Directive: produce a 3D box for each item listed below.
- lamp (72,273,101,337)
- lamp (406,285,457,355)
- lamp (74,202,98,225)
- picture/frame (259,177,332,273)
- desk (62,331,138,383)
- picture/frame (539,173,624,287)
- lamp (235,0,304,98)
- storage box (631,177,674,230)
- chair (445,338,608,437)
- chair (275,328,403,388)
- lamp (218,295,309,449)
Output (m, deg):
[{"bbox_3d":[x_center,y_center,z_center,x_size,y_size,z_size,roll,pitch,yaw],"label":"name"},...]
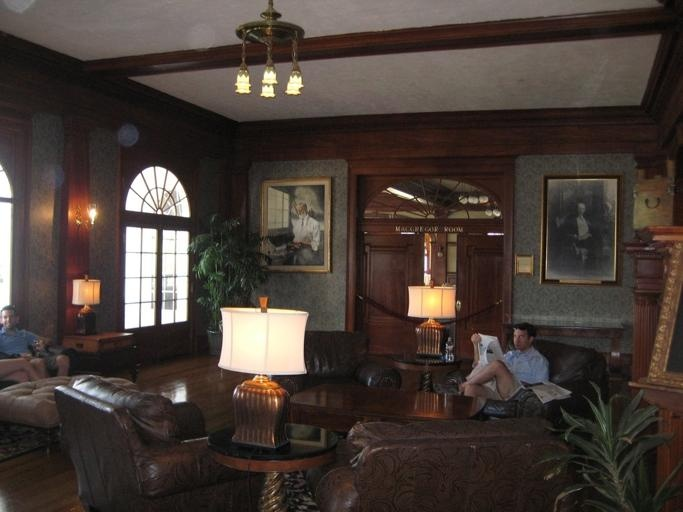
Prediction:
[{"bbox_3d":[-3.406,0.637,7.388,0.317,0.776,0.535,-2,1,-31],"label":"lamp"},{"bbox_3d":[1.000,0.723,6.170,0.489,0.819,0.614,-1,1,7],"label":"lamp"},{"bbox_3d":[-3.487,-0.565,7.546,0.258,0.344,0.236,-1,0,18],"label":"lamp"},{"bbox_3d":[-0.731,-0.501,9.406,1.469,1.810,0.118,1,2,21],"label":"picture/frame"},{"bbox_3d":[-3.170,1.334,7.333,0.553,0.582,0.869,0,-5,14],"label":"desk"},{"bbox_3d":[3.643,-0.404,8.285,1.522,2.371,0.106,1,0,16],"label":"picture/frame"},{"bbox_3d":[-0.672,-1.877,5.140,0.557,1.051,1.444,-1,1,-9],"label":"lamp"},{"bbox_3d":[3.191,-0.547,5.671,0.344,0.511,0.210,-1,1,32],"label":"storage box"},{"bbox_3d":[1.820,1.285,5.299,0.876,0.846,1.223,-2,0,-20],"label":"chair"},{"bbox_3d":[-0.073,1.319,6.015,1.143,0.919,0.654,-1,0,-10],"label":"chair"},{"bbox_3d":[-0.476,0.707,3.408,0.551,0.872,0.518,-3,-6,28],"label":"lamp"}]
